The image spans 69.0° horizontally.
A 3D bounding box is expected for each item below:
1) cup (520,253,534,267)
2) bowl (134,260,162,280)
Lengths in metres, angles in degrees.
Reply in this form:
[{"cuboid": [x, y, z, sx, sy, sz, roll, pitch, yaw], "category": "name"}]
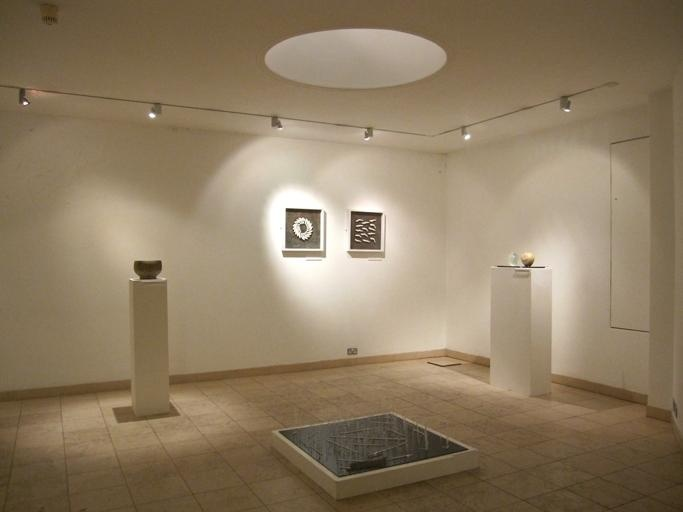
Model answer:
[{"cuboid": [2.700, 0.054, 7.129, 0.176, 0.220, 0.201, -5, 3, 3], "category": "cup"}, {"cuboid": [-2.435, 0.169, 6.207, 0.261, 0.192, 0.266, 0, -3, 0], "category": "bowl"}]
